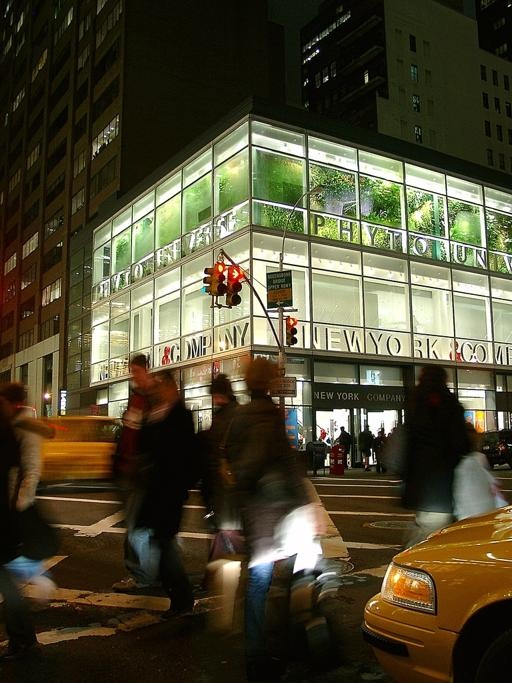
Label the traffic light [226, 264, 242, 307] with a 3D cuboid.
[{"bbox_3d":[-0.536,-1.406,15.368,0.394,1.151,0.917,0,-7,-3],"label":"traffic light"}]

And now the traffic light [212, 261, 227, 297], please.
[{"bbox_3d":[-0.881,-1.612,15.497,0.315,1.003,0.993,0,-7,-3],"label":"traffic light"}]

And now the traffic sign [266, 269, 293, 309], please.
[{"bbox_3d":[0.724,-1.664,19.033,0.703,1.123,1.137,-1,-7,-1],"label":"traffic sign"}]

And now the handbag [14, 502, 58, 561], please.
[{"bbox_3d":[-1.450,1.310,4.154,0.223,0.394,0.333,-1,-7,2],"label":"handbag"}]
